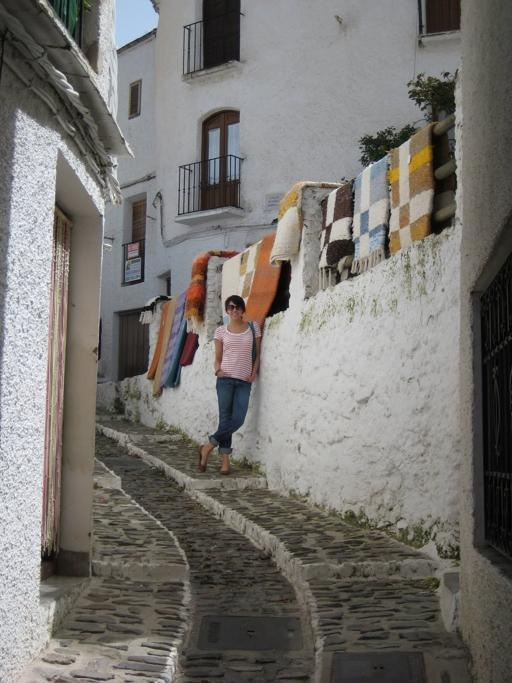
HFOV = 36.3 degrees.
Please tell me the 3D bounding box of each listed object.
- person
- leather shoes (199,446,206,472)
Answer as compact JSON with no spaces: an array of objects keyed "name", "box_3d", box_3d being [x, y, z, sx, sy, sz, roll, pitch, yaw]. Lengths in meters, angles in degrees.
[{"name":"person","box_3d":[-0.198,0.434,7.578,0.456,1.700,0.492,4,-8,-6]},{"name":"leather shoes","box_3d":[-0.528,1.150,7.727,0.057,0.257,0.081,4,11,13]}]
